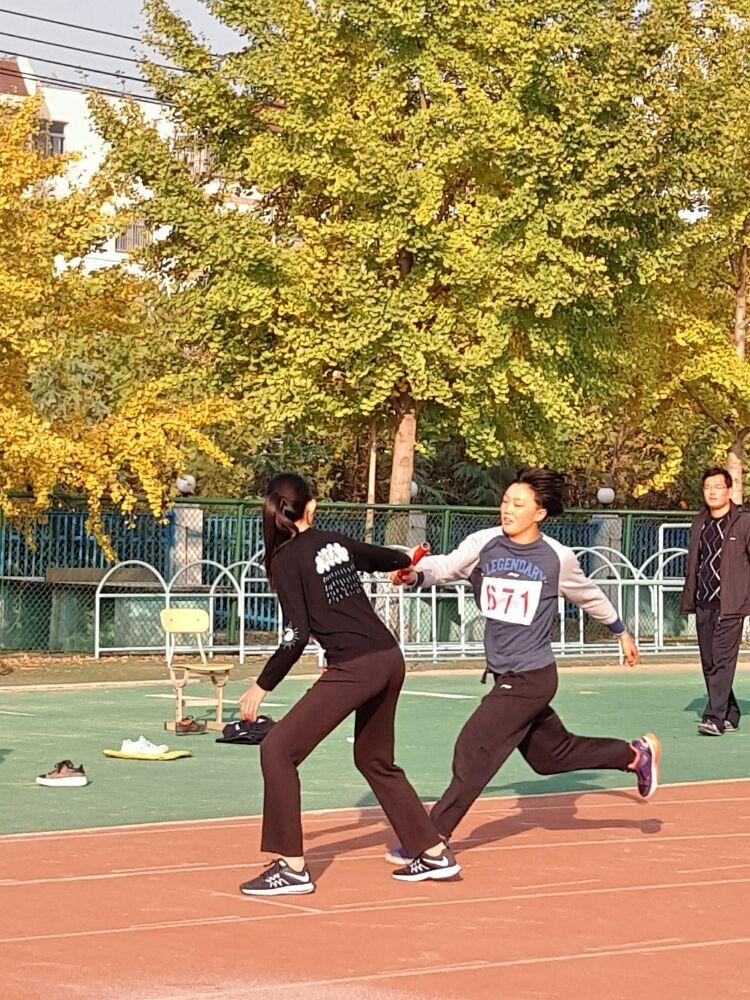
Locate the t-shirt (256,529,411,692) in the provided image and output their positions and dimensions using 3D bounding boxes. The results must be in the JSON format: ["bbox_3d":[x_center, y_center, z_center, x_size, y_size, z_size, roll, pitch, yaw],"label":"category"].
[{"bbox_3d":[-0.193,0.439,4.506,0.719,0.633,0.268,1,-5,-42],"label":"t-shirt"}]

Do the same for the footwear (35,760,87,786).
[{"bbox_3d":[-2.004,1.819,7.259,0.406,0.168,0.138,1,-13,7],"label":"footwear"}]

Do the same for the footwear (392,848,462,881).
[{"bbox_3d":[0.226,1.544,4.674,0.374,0.136,0.123,-1,-8,14],"label":"footwear"}]

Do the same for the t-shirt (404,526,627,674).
[{"bbox_3d":[0.696,0.481,5.179,1.375,0.679,0.441,10,-7,-22],"label":"t-shirt"}]

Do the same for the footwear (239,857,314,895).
[{"bbox_3d":[-0.367,1.474,4.298,0.337,0.124,0.116,1,-8,-8],"label":"footwear"}]

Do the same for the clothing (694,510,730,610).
[{"bbox_3d":[3.123,0.610,10.304,0.205,0.683,0.434,7,-2,-23],"label":"clothing"}]

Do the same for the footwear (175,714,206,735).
[{"bbox_3d":[-1.716,2.094,10.164,0.258,0.090,0.298,1,-3,10],"label":"footwear"}]

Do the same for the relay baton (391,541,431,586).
[{"bbox_3d":[0.168,0.310,5.010,0.071,0.134,0.238,-29,-10,-19],"label":"relay baton"}]

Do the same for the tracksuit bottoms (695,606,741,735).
[{"bbox_3d":[3.219,1.552,10.211,0.398,1.154,0.539,-3,-4,15],"label":"tracksuit bottoms"}]

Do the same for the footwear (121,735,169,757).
[{"bbox_3d":[-1.844,1.909,8.496,0.452,0.164,0.148,4,1,-2],"label":"footwear"}]
